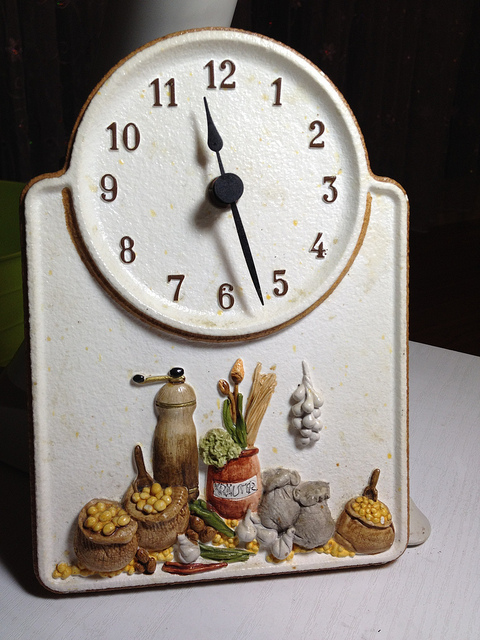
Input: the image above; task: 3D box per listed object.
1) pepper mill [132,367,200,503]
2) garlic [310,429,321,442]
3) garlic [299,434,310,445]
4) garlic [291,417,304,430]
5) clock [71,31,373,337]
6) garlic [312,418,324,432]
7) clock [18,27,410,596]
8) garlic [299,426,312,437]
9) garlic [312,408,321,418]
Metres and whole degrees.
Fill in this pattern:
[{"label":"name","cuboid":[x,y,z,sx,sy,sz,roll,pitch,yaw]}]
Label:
[{"label":"pepper mill","cuboid":[-0.083,0.133,0.861,0.074,0.154,0.049,-1,1,-24]},{"label":"garlic","cuboid":[0.084,0.131,0.876,0.013,0.014,0.012,-5,10,-32]},{"label":"garlic","cuboid":[0.072,0.136,0.874,0.011,0.012,0.011,0,4,9]},{"label":"garlic","cuboid":[0.063,0.116,0.869,0.013,0.012,0.007,18,5,4]},{"label":"clock","cuboid":[-0.023,-0.158,0.990,0.362,0.321,0.327,1,14,-17]},{"label":"garlic","cuboid":[0.088,0.119,0.870,0.013,0.007,0.015,7,2,5]},{"label":"clock","cuboid":[-0.024,0.000,0.833,0.445,0.598,0.151,-5,19,-10]},{"label":"garlic","cuboid":[0.074,0.126,0.869,0.012,0.011,0.006,-5,-1,2]},{"label":"garlic","cuboid":[0.085,0.104,0.868,0.010,0.011,0.010,1,15,7]}]
